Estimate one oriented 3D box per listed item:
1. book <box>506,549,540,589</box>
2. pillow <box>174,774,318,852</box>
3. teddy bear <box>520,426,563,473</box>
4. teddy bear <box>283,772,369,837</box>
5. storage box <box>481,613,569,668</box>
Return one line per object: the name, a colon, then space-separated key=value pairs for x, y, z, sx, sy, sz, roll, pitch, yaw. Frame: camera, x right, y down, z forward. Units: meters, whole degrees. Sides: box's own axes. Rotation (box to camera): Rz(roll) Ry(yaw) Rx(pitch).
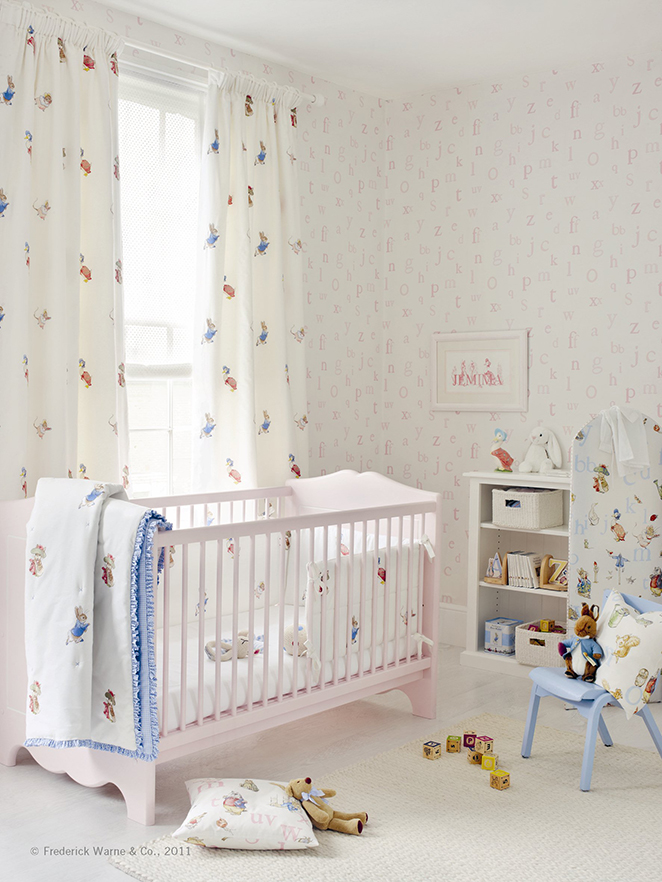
book: x=0.768 y=0.532 z=3.386 sx=0.121 sy=0.158 sz=0.166 roll=-1 pitch=-1 yaw=34
pillow: x=-0.197 y=0.864 z=1.925 sx=0.314 sy=0.093 sz=0.211 roll=1 pitch=-1 yaw=-8
teddy bear: x=0.886 y=0.037 z=3.516 sx=0.134 sy=0.208 sz=0.170 roll=7 pitch=0 yaw=-45
teddy bear: x=-0.024 y=0.857 z=1.980 sx=0.198 sy=0.118 sz=0.097 roll=5 pitch=9 yaw=16
storage box: x=0.767 y=0.805 z=3.353 sx=0.200 sy=0.142 sz=0.317 roll=1 pitch=-1 yaw=35
